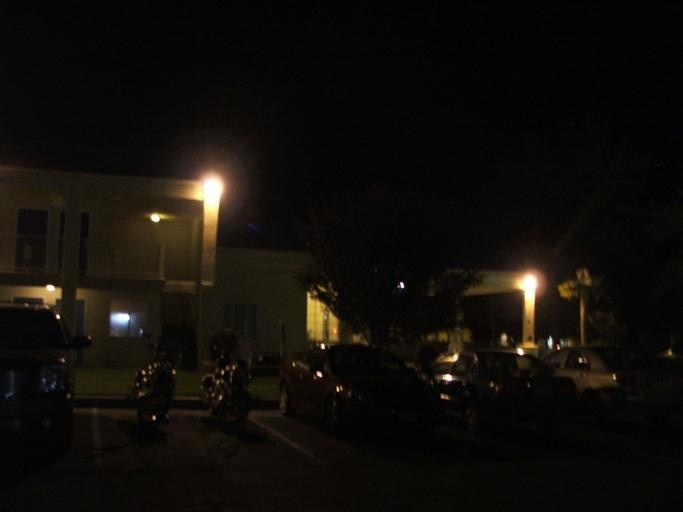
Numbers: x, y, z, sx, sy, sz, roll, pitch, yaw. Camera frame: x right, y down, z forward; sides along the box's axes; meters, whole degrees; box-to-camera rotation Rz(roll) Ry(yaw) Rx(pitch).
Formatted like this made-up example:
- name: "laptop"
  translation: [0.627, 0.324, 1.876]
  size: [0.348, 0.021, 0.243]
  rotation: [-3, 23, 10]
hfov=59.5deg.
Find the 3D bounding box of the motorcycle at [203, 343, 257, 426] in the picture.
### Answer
- name: "motorcycle"
  translation: [-2.429, 2.774, 12.832]
  size: [0.784, 1.518, 1.294]
  rotation: [3, -4, -22]
